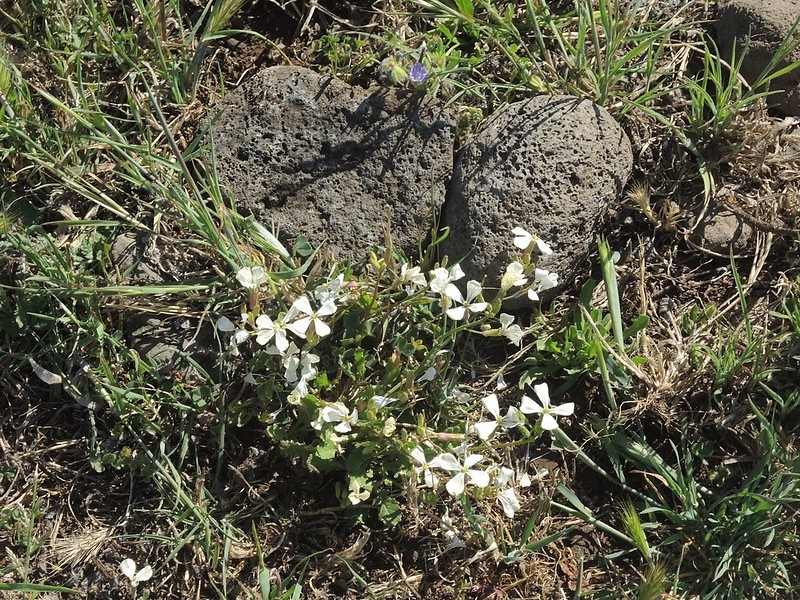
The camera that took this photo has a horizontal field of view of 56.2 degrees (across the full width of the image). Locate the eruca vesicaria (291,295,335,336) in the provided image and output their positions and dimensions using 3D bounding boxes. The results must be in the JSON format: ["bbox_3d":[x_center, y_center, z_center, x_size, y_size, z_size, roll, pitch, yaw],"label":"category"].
[{"bbox_3d":[-0.319,0.070,2.709,0.132,0.055,0.162,12,84,5],"label":"eruca vesicaria"}]

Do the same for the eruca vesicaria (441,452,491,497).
[{"bbox_3d":[0.228,0.606,2.658,0.149,0.201,0.176,-19,86,0],"label":"eruca vesicaria"}]

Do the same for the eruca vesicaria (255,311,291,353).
[{"bbox_3d":[-0.440,0.098,2.757,0.097,0.115,0.039,25,80,36],"label":"eruca vesicaria"}]

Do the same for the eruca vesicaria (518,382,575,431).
[{"bbox_3d":[0.535,0.399,2.763,0.194,0.274,0.136,39,88,3],"label":"eruca vesicaria"}]

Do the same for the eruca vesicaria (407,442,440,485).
[{"bbox_3d":[0.086,0.614,2.762,0.144,0.042,0.168,-14,91,-3],"label":"eruca vesicaria"}]

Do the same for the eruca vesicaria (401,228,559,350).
[{"bbox_3d":[0.331,-0.035,2.918,0.479,0.221,0.526,23,57,1],"label":"eruca vesicaria"}]

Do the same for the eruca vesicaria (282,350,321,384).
[{"bbox_3d":[-0.375,0.267,2.776,0.111,0.056,0.123,29,73,2],"label":"eruca vesicaria"}]

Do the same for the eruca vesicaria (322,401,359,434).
[{"bbox_3d":[-0.215,0.426,2.718,0.110,0.046,0.117,2,106,16],"label":"eruca vesicaria"}]
